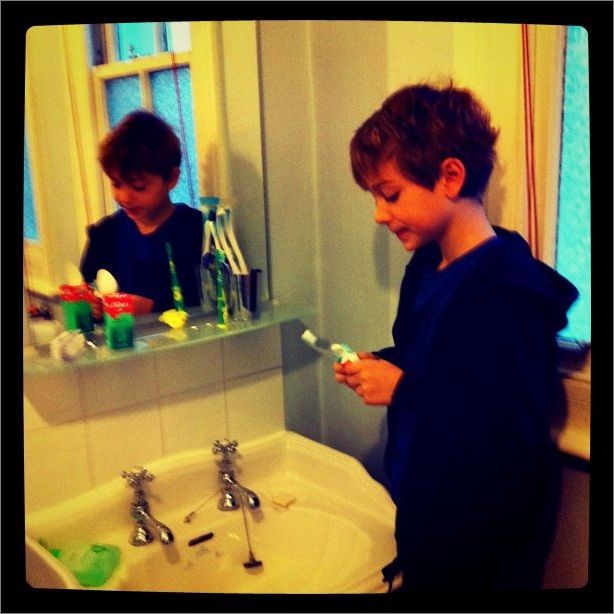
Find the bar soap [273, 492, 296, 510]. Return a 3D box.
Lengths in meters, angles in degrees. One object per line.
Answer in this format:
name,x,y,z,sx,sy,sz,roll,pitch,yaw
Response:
bar soap,-0.061,0.476,1.442,0.035,0.012,0.035,7,20,13

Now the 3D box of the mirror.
mirror,-0.384,-0.302,1.310,0.612,0.782,0.058,-4,8,-18

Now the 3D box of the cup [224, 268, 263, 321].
cup,-0.153,-0.037,1.502,0.101,0.146,0.112,2,9,20

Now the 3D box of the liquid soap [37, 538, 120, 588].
liquid soap,-0.496,0.556,1.294,0.186,0.092,0.061,-1,11,17

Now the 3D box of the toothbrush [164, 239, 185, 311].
toothbrush,-0.313,-0.076,1.388,0.031,0.164,0.017,-12,9,-13

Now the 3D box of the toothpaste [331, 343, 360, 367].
toothpaste,0.093,0.115,1.427,0.064,0.039,0.014,39,27,21

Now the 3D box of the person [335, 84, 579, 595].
person,0.337,0.087,1.310,0.506,1.139,0.173,-3,10,5

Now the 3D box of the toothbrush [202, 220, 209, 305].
toothbrush,-0.245,-0.099,1.407,0.025,0.176,0.018,1,8,-8

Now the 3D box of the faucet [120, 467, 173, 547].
faucet,-0.361,0.453,1.329,0.102,0.160,0.099,-6,11,-12

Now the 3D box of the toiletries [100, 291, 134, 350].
toiletries,-0.421,0.021,1.328,0.073,0.153,0.054,0,29,-14
